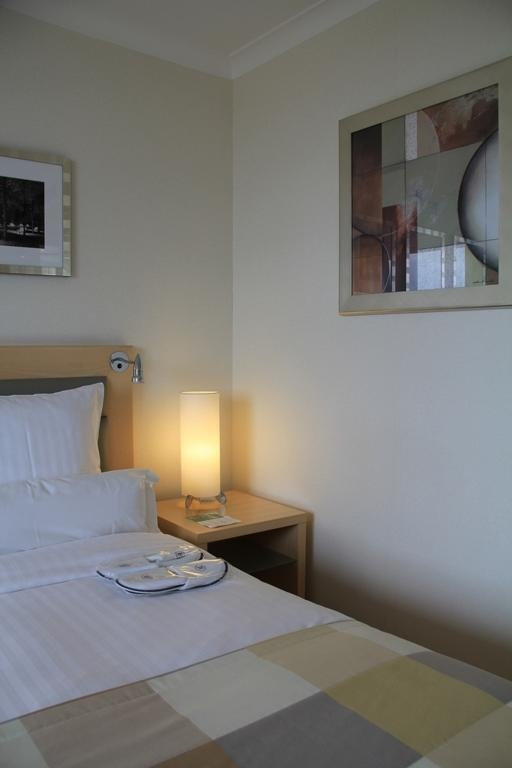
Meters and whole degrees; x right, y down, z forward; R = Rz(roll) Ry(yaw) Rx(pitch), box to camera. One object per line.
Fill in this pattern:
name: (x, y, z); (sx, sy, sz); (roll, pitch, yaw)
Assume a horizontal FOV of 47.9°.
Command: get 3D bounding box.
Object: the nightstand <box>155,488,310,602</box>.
nightstand: (-0.134, 0.594, 2.532); (0.582, 0.397, 0.589); (-1, 9, -32)
